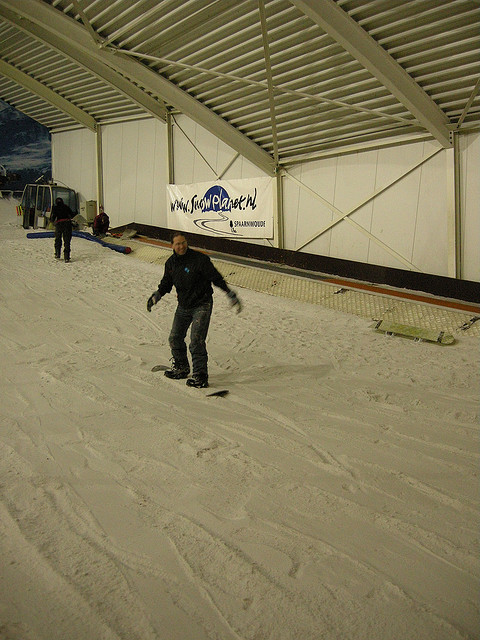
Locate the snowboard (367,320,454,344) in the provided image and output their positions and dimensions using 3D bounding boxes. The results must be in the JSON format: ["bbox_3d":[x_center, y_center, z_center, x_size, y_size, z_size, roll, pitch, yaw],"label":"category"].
[{"bbox_3d":[2.817,0.198,7.201,1.120,0.148,0.289,13,37,31],"label":"snowboard"}]

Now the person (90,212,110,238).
[{"bbox_3d":[-4.727,-3.202,15.041,0.483,0.792,0.740,-1,12,-19],"label":"person"}]

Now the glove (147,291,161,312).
[{"bbox_3d":[-0.923,-0.197,4.866,0.058,0.224,0.135,9,44,-48],"label":"glove"}]

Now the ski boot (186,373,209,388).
[{"bbox_3d":[-0.435,0.627,4.559,0.204,0.132,0.123,12,-13,-16],"label":"ski boot"}]

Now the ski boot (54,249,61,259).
[{"bbox_3d":[-4.618,-1.667,11.239,0.114,0.246,0.240,-4,13,-32],"label":"ski boot"}]

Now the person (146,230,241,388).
[{"bbox_3d":[-0.503,-0.123,4.744,0.681,1.577,0.819,-6,15,-39],"label":"person"}]

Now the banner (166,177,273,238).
[{"bbox_3d":[-0.629,-3.356,13.577,4.149,1.713,0.047,-14,22,-39],"label":"banner"}]

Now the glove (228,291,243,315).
[{"bbox_3d":[-0.056,-0.194,4.814,0.134,0.271,0.343,5,11,9],"label":"glove"}]
